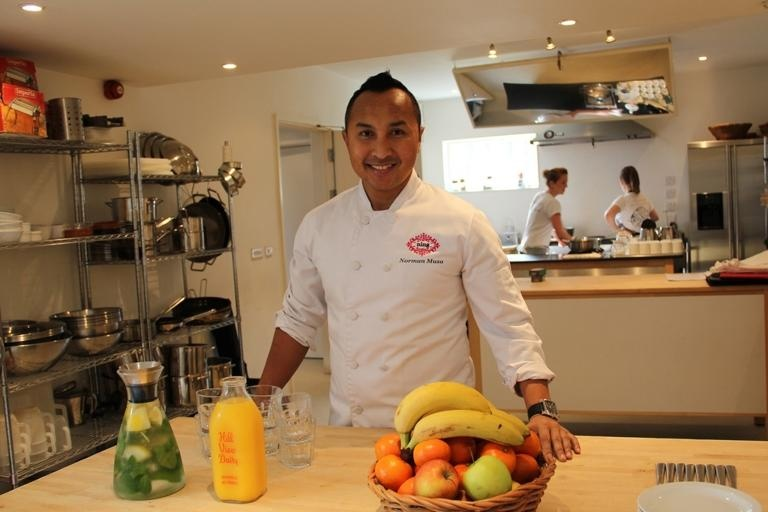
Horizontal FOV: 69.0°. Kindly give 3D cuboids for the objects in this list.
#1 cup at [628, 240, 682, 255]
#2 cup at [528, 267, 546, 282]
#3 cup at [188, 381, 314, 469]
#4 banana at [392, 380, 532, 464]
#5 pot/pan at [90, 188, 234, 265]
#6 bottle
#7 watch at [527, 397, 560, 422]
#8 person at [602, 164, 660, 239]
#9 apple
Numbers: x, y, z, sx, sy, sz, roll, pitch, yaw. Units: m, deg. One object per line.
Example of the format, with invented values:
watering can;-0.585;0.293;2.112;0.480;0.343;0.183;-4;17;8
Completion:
cup;2.663;-0.090;5.518;0.516;0.149;0.168;0;3;26
cup;1.208;0.147;4.440;0.082;0.094;0.169;3;8;17
cup;-0.429;0.528;1.798;0.392;0.196;0.214;-3;-3;25
banana;0.202;0.456;1.529;0.381;0.095;0.187;11;27;-21
pot/pan;-1.532;-0.202;3.911;0.720;0.406;0.504;-2;-1;-20
bottle;-0.585;0.503;1.616;0.471;0.401;0.103;-2;3;1
watch;0.498;0.480;1.725;0.093;0.058;0.093;14;-30;-14
person;3.006;-0.678;6.797;0.525;0.845;0.401;-4;4;-35
apple;0.213;0.543;1.465;0.232;0.080;0.236;-7;-4;40
